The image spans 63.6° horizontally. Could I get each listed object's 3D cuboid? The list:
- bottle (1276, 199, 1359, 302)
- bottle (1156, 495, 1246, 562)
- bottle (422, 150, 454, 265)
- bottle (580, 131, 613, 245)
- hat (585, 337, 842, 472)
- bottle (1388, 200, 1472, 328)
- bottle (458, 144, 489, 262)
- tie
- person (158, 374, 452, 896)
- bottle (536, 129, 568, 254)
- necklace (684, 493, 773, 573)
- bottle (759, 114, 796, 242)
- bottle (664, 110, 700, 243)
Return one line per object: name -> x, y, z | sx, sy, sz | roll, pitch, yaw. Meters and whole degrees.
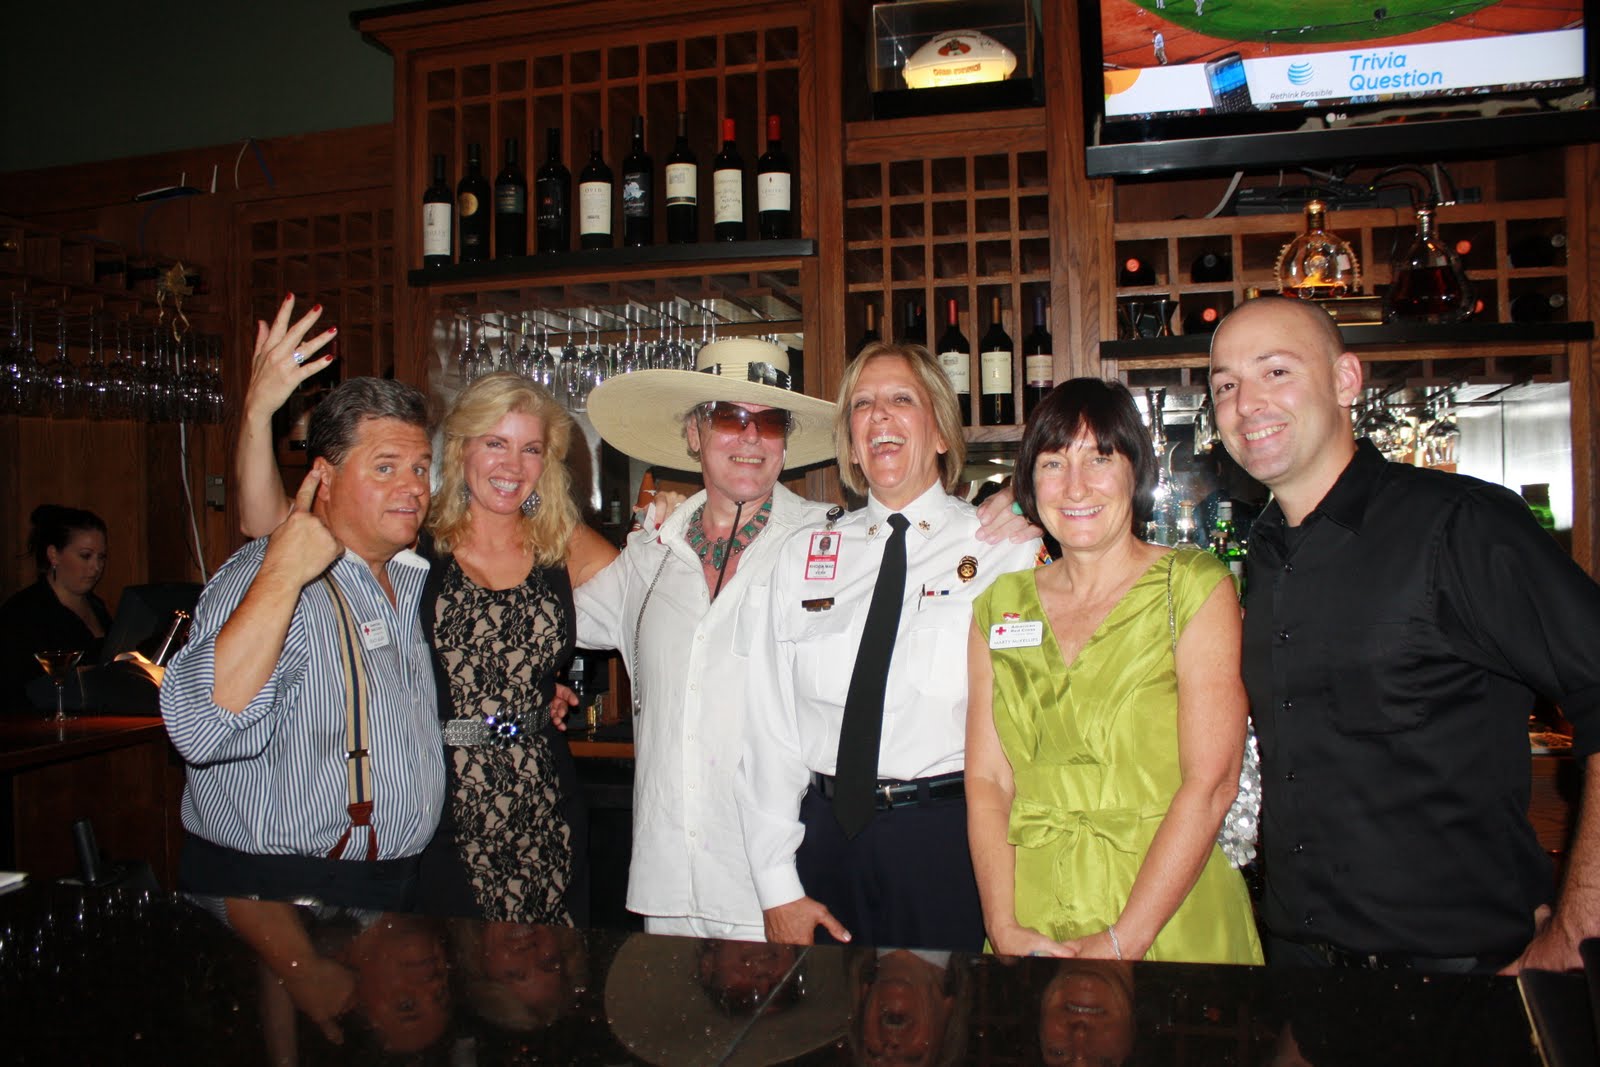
bottle -> 1.728, -0.954, 4.333 | 0.193, 0.369, 0.226 | -1, -2, -22
bottle -> 1.545, -0.013, 4.894 | 0.417, 0.223, 0.416 | 2, -3, 0
bottle -> -1.434, -1.256, 5.124 | 0.129, 0.486, 0.331 | -1, -2, -15
bottle -> -0.792, -1.313, 5.002 | 0.109, 0.472, 0.256 | -1, -2, -13
hat -> -0.232, -0.409, 4.117 | 0.595, 0.158, 0.538 | 14, -19, -32
bottle -> 2.173, -0.913, 4.452 | 0.243, 0.383, 0.283 | 3, -5, -41
bottle -> -1.294, -1.302, 5.130 | 0.114, 0.456, 0.167 | -1, -2, -17
tie -> 0.216, 0.328, 3.422 | 0.120, 0.914, 0.105 | 8, -25, 14
person -> -1.230, 0.291, 3.278 | 0.691, 1.386, 0.495 | -1, -2, -24
bottle -> -0.963, -1.304, 5.043 | 0.140, 0.522, 0.353 | -1, -2, -11
necklace -> -0.206, 0.021, 3.885 | 0.170, 0.286, 0.147 | 4, -44, 24
bottle -> -0.091, -1.339, 4.927 | 0.126, 0.526, 0.294 | -1, -2, -2
bottle -> -0.449, -1.334, 4.927 | 0.109, 0.508, 0.184 | -1, -2, -12
